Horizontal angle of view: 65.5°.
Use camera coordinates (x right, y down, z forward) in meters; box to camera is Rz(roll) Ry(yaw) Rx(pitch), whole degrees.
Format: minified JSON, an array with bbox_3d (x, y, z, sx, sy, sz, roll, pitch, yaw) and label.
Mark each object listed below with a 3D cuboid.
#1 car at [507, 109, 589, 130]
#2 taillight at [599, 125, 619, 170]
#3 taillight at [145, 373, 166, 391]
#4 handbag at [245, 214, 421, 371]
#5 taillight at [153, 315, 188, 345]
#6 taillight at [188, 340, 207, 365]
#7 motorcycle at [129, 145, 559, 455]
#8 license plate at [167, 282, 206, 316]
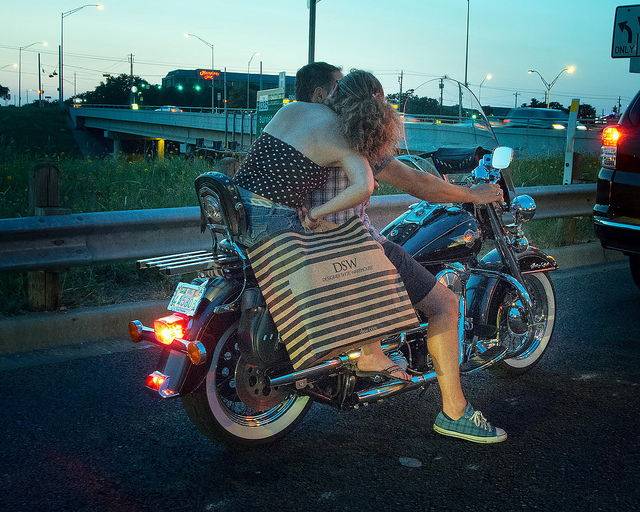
[{"bbox_3d":[15.737,-9.913,35.969,3.667,1.410,2.641,5,12,17],"label":"car"},{"bbox_3d":[3.334,-1.254,5.748,0.151,0.502,0.359,6,12,25],"label":"taillight"},{"bbox_3d":[-0.831,0.629,2.546,0.077,0.085,0.081,4,3,23],"label":"taillight"},{"bbox_3d":[0.033,0.187,2.430,0.605,0.591,0.245,-24,-14,-14],"label":"handbag"},{"bbox_3d":[-0.753,0.383,2.548,0.194,0.144,0.109,11,15,41],"label":"taillight"},{"bbox_3d":[-0.591,0.478,2.443,0.074,0.113,0.083,10,14,38],"label":"taillight"},{"bbox_3d":[0.450,0.136,3.141,2.950,1.716,1.180,-7,8,-25],"label":"motorcycle"},{"bbox_3d":[-0.683,0.250,2.613,0.153,0.169,0.047,15,-15,25],"label":"license plate"}]
